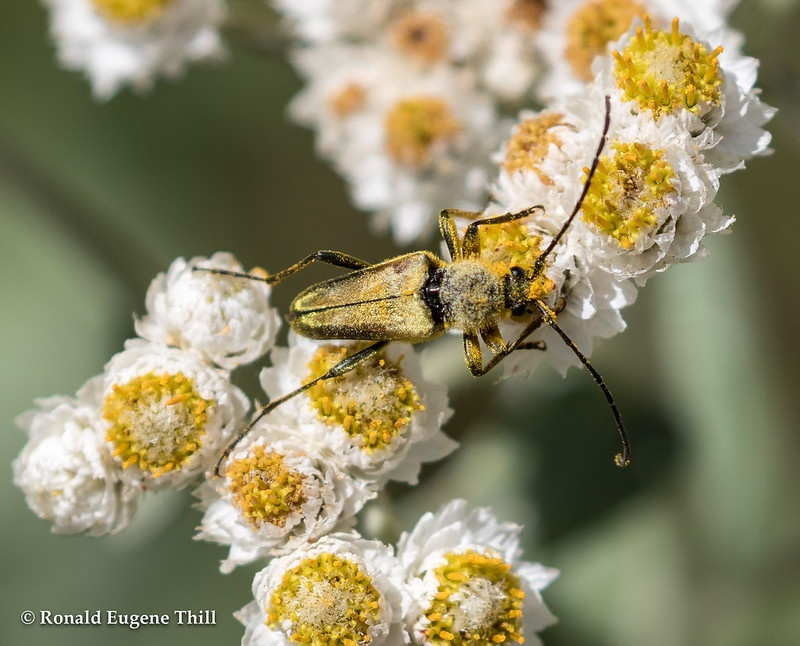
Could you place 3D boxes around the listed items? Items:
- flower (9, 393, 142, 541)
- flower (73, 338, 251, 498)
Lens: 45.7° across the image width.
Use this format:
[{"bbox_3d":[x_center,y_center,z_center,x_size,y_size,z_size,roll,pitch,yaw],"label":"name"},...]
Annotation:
[{"bbox_3d":[-0.887,0.426,2.570,0.241,0.340,0.336,-28,47,-34],"label":"flower"},{"bbox_3d":[-0.636,0.259,2.530,0.394,0.162,0.382,39,78,2],"label":"flower"}]
